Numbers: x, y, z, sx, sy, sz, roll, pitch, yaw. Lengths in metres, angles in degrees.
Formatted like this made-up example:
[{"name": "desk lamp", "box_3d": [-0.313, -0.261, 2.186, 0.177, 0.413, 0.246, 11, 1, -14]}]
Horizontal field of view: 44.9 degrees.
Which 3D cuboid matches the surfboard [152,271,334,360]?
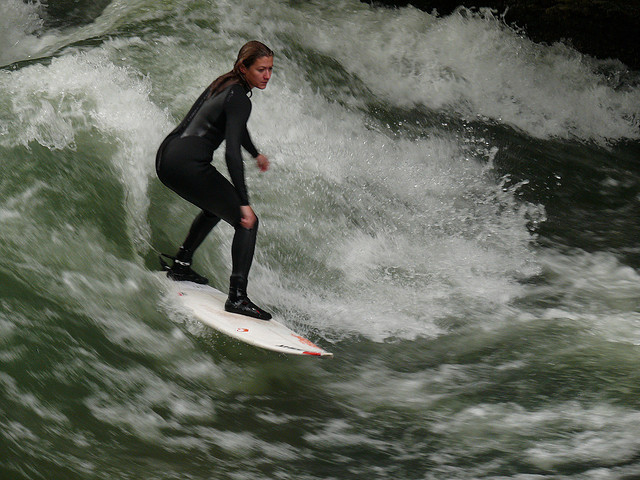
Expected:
[{"name": "surfboard", "box_3d": [-0.780, 0.603, 6.206, 2.016, 0.121, 0.549, 19, 20, 39]}]
